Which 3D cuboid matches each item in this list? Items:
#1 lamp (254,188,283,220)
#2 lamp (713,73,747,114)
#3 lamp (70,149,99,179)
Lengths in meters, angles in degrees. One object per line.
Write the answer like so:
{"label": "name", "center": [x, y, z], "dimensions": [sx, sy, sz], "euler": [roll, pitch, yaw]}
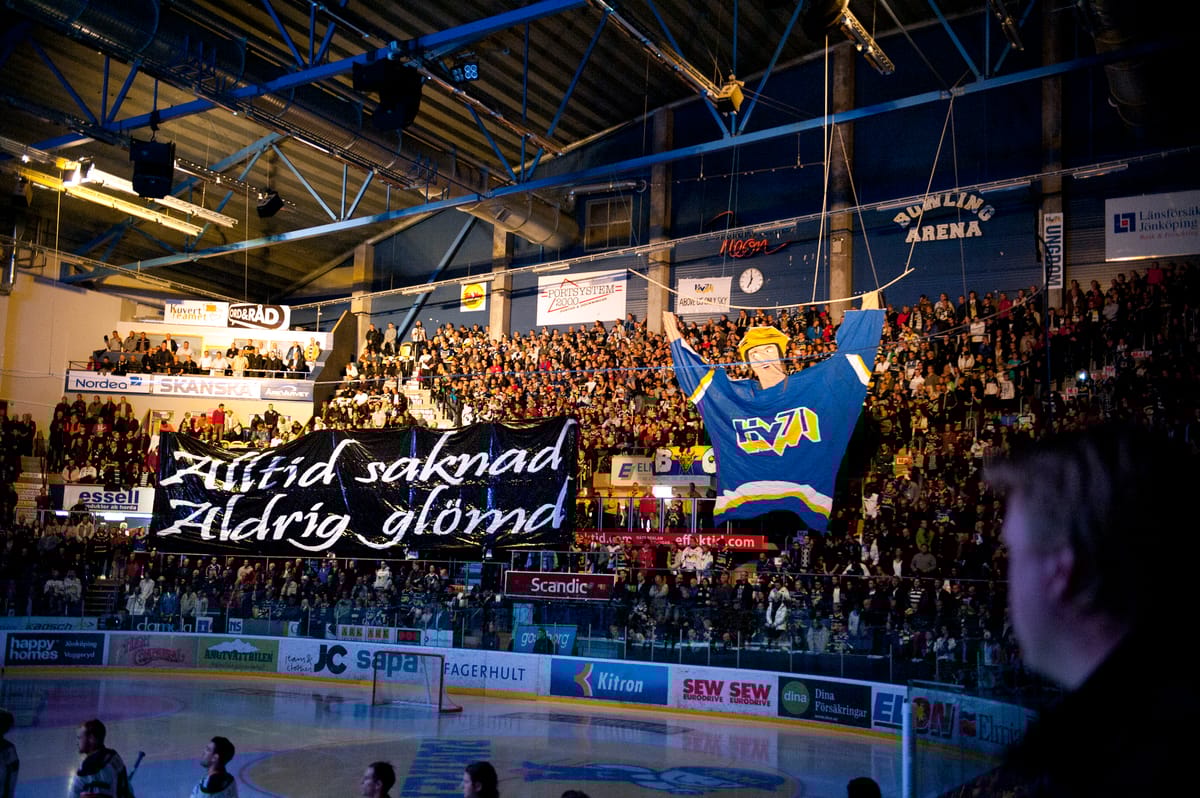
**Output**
{"label": "lamp", "center": [-11.964, -7.130, 47.703], "dimensions": [0.746, 0.981, 1.144], "euler": [0, 1, -15]}
{"label": "lamp", "center": [3.953, -9.140, 39.565], "dimensions": [0.625, 1.046, 1.094], "euler": [1, 1, 25]}
{"label": "lamp", "center": [-17.314, -7.676, 44.028], "dimensions": [0.587, 0.861, 1.327], "euler": [0, 1, -24]}
